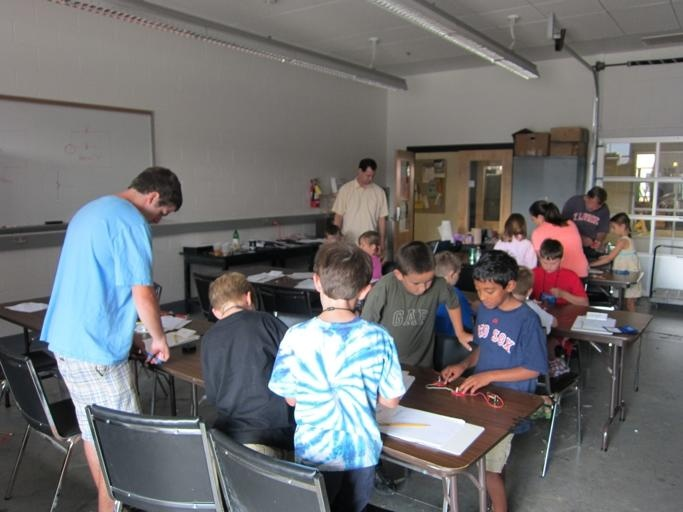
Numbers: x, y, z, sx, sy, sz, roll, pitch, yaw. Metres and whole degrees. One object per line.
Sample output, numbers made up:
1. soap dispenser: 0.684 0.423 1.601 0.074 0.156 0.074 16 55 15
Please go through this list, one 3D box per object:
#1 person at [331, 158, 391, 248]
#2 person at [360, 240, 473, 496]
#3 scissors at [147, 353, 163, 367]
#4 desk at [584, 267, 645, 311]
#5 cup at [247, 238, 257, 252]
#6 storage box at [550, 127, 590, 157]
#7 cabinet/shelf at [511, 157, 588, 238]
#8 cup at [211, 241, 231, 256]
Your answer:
1. person: 0.235 -0.305 6.517 0.699 1.703 0.360 3 12 -2
2. person: 0.427 0.694 3.407 0.763 1.649 0.504 -6 20 -12
3. scissors: -1.114 0.621 3.172 0.096 0.116 0.041 7 11 5
4. desk: 2.946 0.355 5.775 0.507 0.524 0.524 2 7 35
5. cup: -1.184 -0.120 7.066 0.125 0.148 0.126 1 7 0
6. storage box: 3.488 -1.655 8.056 0.478 0.502 0.485 8 12 42
7. cabinet/shelf: 3.061 -0.649 8.115 0.954 1.774 0.576 4 -31 16
8. cup: -1.509 -0.084 6.673 0.182 0.173 0.145 8 11 36
